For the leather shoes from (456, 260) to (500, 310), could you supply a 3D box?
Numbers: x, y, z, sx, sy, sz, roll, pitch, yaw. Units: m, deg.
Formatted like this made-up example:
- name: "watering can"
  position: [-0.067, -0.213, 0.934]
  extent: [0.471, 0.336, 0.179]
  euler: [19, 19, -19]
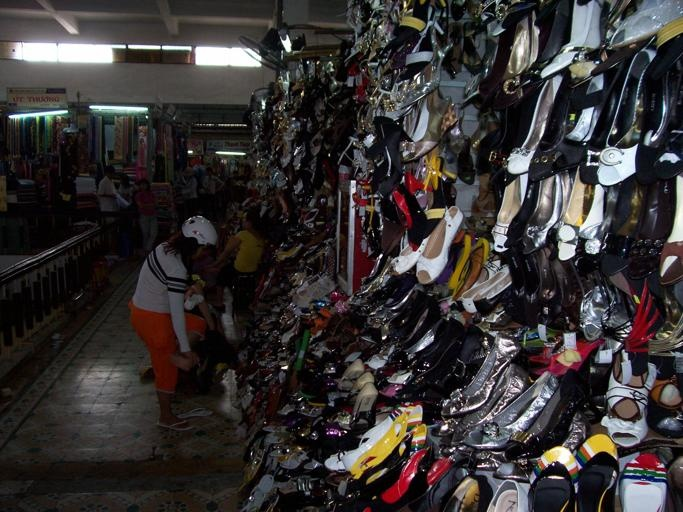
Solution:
- name: "leather shoes"
  position: [0.487, 0.090, 1.852]
  extent: [0.089, 0.071, 0.261]
  euler: [-7, 41, 51]

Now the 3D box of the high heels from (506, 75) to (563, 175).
- name: "high heels"
  position: [0.588, -0.387, 1.607]
  extent: [0.132, 0.078, 0.481]
  euler: [47, 1, 22]

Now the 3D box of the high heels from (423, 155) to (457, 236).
- name: "high heels"
  position: [0.362, -0.217, 1.972]
  extent: [0.093, 0.291, 0.101]
  euler: [-1, 5, 11]

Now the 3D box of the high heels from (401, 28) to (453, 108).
- name: "high heels"
  position: [0.308, -0.673, 1.987]
  extent: [0.130, 0.364, 0.114]
  euler: [25, -7, -40]

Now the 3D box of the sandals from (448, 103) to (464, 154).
- name: "sandals"
  position: [0.428, -0.468, 1.979]
  extent: [0.051, 0.186, 0.069]
  euler: [1, 16, 9]

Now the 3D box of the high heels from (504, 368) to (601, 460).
- name: "high heels"
  position: [0.573, 0.443, 1.550]
  extent: [0.455, 0.176, 0.156]
  euler: [-5, 2, -36]

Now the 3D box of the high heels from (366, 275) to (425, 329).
- name: "high heels"
  position: [0.215, 0.171, 2.111]
  extent: [0.093, 0.259, 0.140]
  euler: [35, 17, -31]

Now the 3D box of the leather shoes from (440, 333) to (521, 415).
- name: "leather shoes"
  position: [0.438, 0.357, 1.636]
  extent: [0.287, 0.106, 0.104]
  euler: [-43, 16, -8]

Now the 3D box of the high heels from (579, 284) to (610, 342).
- name: "high heels"
  position: [0.693, 0.161, 1.468]
  extent: [0.057, 0.174, 0.093]
  euler: [-10, 25, 2]

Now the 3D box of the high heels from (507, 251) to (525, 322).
- name: "high heels"
  position: [0.528, 0.103, 1.656]
  extent: [0.062, 0.193, 0.060]
  euler: [-18, 32, -21]

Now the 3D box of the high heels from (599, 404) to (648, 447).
- name: "high heels"
  position: [0.808, 0.452, 1.503]
  extent: [0.115, 0.064, 0.149]
  euler: [-5, 27, 25]

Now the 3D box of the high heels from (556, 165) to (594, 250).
- name: "high heels"
  position: [0.626, -0.118, 1.415]
  extent: [0.054, 0.253, 0.058]
  euler: [12, 14, 27]

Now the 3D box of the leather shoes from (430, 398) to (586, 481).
- name: "leather shoes"
  position: [0.503, 0.515, 1.533]
  extent: [0.311, 0.129, 0.217]
  euler: [-30, 27, 12]

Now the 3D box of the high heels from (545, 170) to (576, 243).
- name: "high heels"
  position: [0.604, -0.132, 1.462]
  extent: [0.043, 0.192, 0.047]
  euler: [16, -8, -35]

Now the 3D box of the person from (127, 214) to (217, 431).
- name: "person"
  position: [-1.223, 0.496, 3.865]
  extent: [0.615, 1.579, 0.335]
  euler: [7, 11, 27]

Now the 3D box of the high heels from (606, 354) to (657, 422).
- name: "high heels"
  position: [0.799, 0.355, 1.462]
  extent: [0.052, 0.199, 0.100]
  euler: [33, -18, -31]

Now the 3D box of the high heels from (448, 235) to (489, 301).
- name: "high heels"
  position: [0.472, 0.034, 1.949]
  extent: [0.077, 0.248, 0.124]
  euler: [24, 0, -31]

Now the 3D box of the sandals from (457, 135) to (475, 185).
- name: "sandals"
  position: [0.519, -0.376, 2.198]
  extent: [0.070, 0.230, 0.086]
  euler: [0, 14, 7]

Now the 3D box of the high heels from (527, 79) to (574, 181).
- name: "high heels"
  position: [0.600, -0.354, 1.446]
  extent: [0.076, 0.068, 0.281]
  euler: [10, -22, 14]

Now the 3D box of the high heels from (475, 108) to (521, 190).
- name: "high heels"
  position: [0.520, -0.364, 1.750]
  extent: [0.114, 0.307, 0.166]
  euler: [5, 11, -10]

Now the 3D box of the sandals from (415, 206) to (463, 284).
- name: "sandals"
  position: [0.367, -0.027, 1.935]
  extent: [0.085, 0.331, 0.108]
  euler: [23, 0, -42]

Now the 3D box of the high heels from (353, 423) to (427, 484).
- name: "high heels"
  position: [0.161, 0.634, 1.816]
  extent: [0.316, 0.078, 0.157]
  euler: [-36, -10, -13]

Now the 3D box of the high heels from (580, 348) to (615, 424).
- name: "high heels"
  position: [0.742, 0.365, 1.538]
  extent: [0.076, 0.238, 0.059]
  euler: [10, 18, 30]

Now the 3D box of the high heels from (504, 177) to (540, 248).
- name: "high heels"
  position: [0.518, -0.121, 1.503]
  extent: [0.029, 0.219, 0.048]
  euler: [-4, 16, -30]

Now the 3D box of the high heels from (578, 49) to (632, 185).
- name: "high heels"
  position: [0.656, -0.338, 1.320]
  extent: [0.035, 0.349, 0.069]
  euler: [-3, 14, -16]

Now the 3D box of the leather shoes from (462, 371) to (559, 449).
- name: "leather shoes"
  position: [0.526, 0.467, 1.578]
  extent: [0.377, 0.150, 0.133]
  euler: [-19, -5, -22]

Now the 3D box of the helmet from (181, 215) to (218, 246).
- name: "helmet"
  position: [-0.999, -0.167, 3.735]
  extent: [0.233, 0.212, 0.229]
  euler: [-1, 10, -19]

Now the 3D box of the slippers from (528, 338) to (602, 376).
- name: "slippers"
  position: [0.645, 0.294, 1.532]
  extent: [0.184, 0.079, 0.068]
  euler: [-24, -40, 18]

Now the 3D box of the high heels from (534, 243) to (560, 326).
- name: "high heels"
  position: [0.594, 0.079, 1.502]
  extent: [0.042, 0.212, 0.063]
  euler: [-14, 9, -33]

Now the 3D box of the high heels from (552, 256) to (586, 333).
- name: "high heels"
  position: [0.636, 0.104, 1.469]
  extent: [0.056, 0.249, 0.042]
  euler: [2, 15, 31]

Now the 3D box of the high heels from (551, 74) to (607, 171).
- name: "high heels"
  position: [0.616, -0.334, 1.374]
  extent: [0.046, 0.238, 0.073]
  euler: [-1, 17, -33]

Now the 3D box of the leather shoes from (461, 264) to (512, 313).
- name: "leather shoes"
  position: [0.483, 0.107, 1.749]
  extent: [0.230, 0.064, 0.082]
  euler: [-45, 21, -12]

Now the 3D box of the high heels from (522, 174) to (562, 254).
- name: "high heels"
  position: [0.578, -0.126, 1.510]
  extent: [0.054, 0.272, 0.092]
  euler: [-9, 50, -1]

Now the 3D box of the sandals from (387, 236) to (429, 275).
- name: "sandals"
  position: [0.244, 0.008, 1.978]
  extent: [0.041, 0.163, 0.077]
  euler: [10, 44, -14]

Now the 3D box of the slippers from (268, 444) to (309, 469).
- name: "slippers"
  position: [-0.261, 1.000, 2.685]
  extent: [0.091, 0.022, 0.191]
  euler: [-50, 18, -19]
